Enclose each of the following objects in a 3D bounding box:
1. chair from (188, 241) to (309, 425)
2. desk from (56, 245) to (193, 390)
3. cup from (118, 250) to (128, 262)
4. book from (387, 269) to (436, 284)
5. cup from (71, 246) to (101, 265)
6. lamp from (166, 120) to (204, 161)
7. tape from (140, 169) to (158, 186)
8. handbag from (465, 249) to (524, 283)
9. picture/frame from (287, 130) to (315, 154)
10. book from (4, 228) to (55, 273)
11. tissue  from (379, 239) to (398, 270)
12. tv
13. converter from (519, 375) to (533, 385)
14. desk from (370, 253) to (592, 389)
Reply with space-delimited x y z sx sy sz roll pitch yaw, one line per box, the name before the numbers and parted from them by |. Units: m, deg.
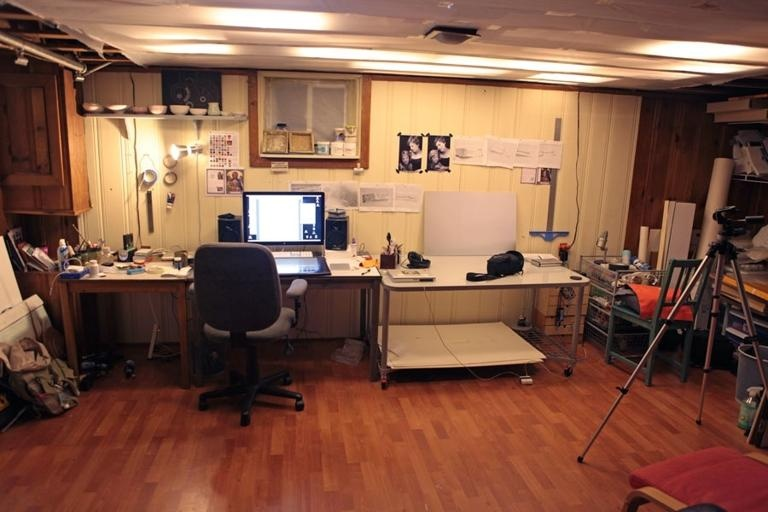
chair | -1.127 0.588 4.755 0.884 1.510 0.532 -2 15 -9
desk | -2.325 0.603 5.229 1.035 0.826 0.746 -2 0 -23
cup | -2.416 -0.006 5.343 0.102 0.094 0.094 2 6 0
book | 0.249 0.164 5.230 0.453 0.063 0.310 0 12 1
cup | -2.731 -0.012 5.260 0.295 0.190 0.157 0 -1 -18
lamp | -1.910 -1.121 5.528 0.336 0.378 0.154 -5 15 -18
tape | -2.263 -0.764 5.542 0.160 0.151 0.077 -5 15 -21
handbag | 1.050 0.070 5.379 0.490 0.201 0.269 -7 11 -24
picture/frame | -0.819 -1.120 5.661 0.253 0.233 0.057 0 6 -5
book | -3.174 -0.050 5.146 0.307 0.126 0.425 43 4 26
tissue  | 0.056 -0.017 5.558 0.142 0.217 0.265 4 14 16
tv | -0.974 -0.370 5.454 0.626 0.404 0.046 1 8 -7
converter | 1.337 1.143 5.378 0.129 0.062 0.112 0 13 0
desk | 0.830 0.652 5.735 2.355 1.066 1.196 -1 22 -6
